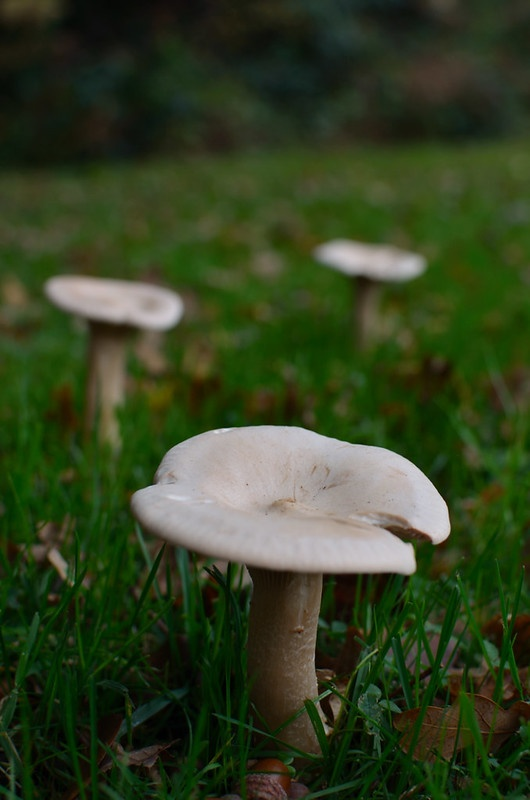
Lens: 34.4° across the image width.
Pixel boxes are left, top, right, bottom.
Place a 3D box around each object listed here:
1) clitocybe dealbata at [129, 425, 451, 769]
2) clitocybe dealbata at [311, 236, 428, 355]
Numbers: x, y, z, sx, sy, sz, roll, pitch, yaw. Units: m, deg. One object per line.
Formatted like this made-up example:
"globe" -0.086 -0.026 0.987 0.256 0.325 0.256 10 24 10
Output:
"clitocybe dealbata" 0.044 0.329 1.743 0.577 0.556 0.545 27 44 31
"clitocybe dealbata" 0.464 -0.468 3.917 0.553 0.449 0.573 22 24 34
